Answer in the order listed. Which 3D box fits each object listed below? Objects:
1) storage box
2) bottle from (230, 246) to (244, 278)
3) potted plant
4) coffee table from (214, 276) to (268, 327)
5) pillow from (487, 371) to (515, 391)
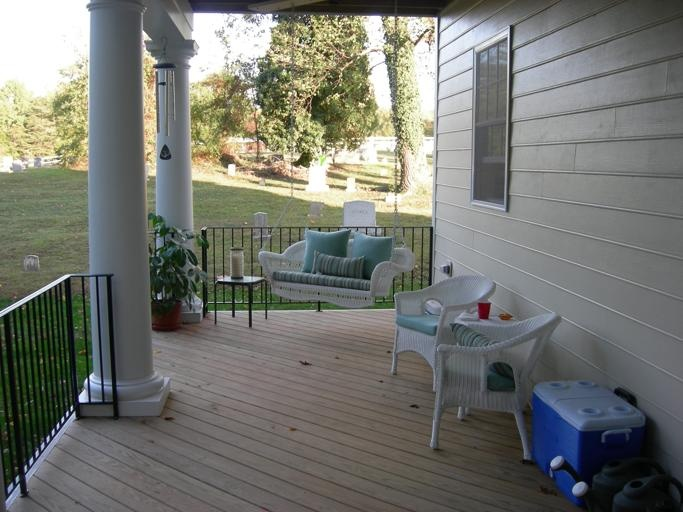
[{"bbox_3d":[1.556,1.171,3.268,0.441,0.614,0.600,-1,10,-7],"label":"storage box"},{"bbox_3d":[-1.283,0.096,6.265,0.140,0.350,0.146,1,10,0],"label":"bottle"},{"bbox_3d":[-1.994,0.193,6.120,0.792,1.304,0.862,0,-2,28],"label":"potted plant"},{"bbox_3d":[-1.201,0.493,6.315,0.421,0.388,0.453,-1,11,17],"label":"coffee table"},{"bbox_3d":[1.138,0.893,3.665,0.113,0.045,0.118,6,15,11],"label":"pillow"}]
